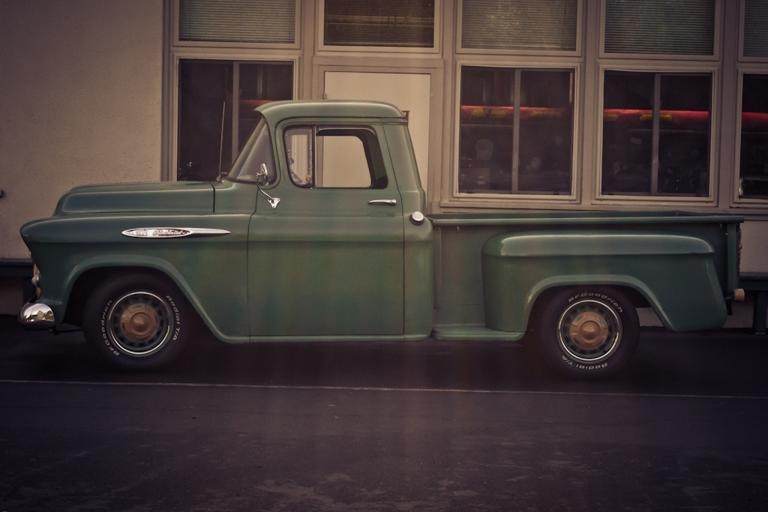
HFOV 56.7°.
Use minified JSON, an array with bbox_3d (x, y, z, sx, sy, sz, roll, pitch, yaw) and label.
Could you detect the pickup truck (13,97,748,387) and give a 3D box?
[{"bbox_3d":[-0.015,0.030,8.963,7.598,2.878,3.342,2,-1,0],"label":"pickup truck"}]
